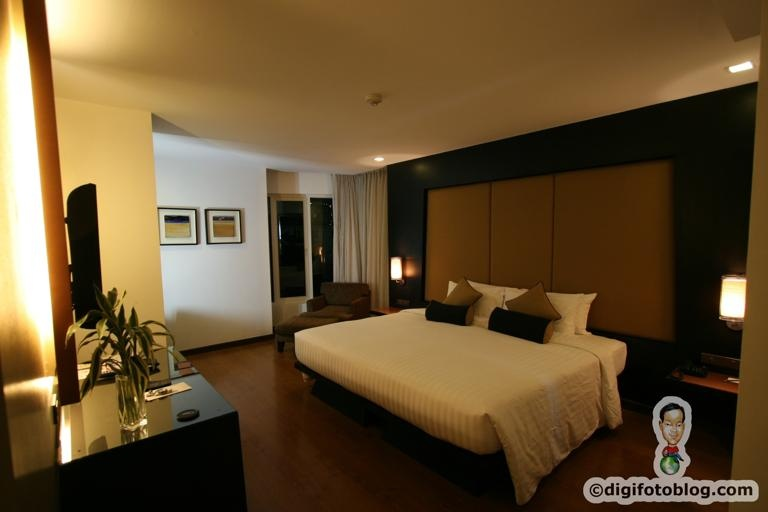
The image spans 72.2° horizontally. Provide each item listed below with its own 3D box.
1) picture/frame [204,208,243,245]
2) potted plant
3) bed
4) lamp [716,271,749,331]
[{"bbox_3d":[-2.189,-0.404,7.092,0.447,0.497,0.048,-5,7,-31],"label":"picture/frame"},{"bbox_3d":[-1.853,0.667,3.877,0.580,0.950,1.546,-4,3,-22],"label":"potted plant"},{"bbox_3d":[0.742,1.160,4.934,2.792,1.409,1.913,-1,4,25],"label":"bed"},{"bbox_3d":[2.942,0.400,4.456,0.167,0.472,0.138,0,4,26],"label":"lamp"}]
